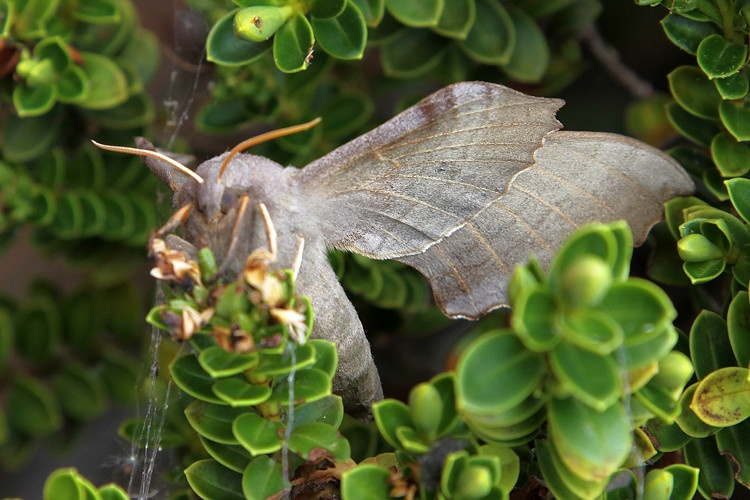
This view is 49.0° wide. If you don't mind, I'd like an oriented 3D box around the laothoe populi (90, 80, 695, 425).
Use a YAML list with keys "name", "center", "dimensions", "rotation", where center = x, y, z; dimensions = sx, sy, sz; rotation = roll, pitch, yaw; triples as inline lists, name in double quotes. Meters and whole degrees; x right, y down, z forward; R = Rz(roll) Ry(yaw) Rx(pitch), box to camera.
- name: "laothoe populi"
  center: [0.145, -0.120, 1.882]
  dimensions: [1.189, 0.454, 0.760]
  rotation: [-4, -41, 35]
